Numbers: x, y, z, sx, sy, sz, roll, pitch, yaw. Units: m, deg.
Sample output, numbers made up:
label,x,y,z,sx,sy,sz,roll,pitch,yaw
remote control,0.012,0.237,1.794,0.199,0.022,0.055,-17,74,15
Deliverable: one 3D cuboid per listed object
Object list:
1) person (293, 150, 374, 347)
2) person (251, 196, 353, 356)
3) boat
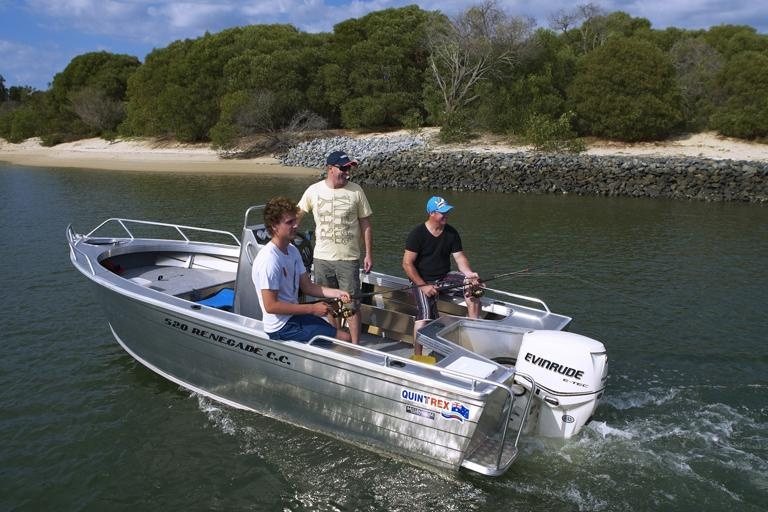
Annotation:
label,x,y,z,sx,sy,sz,roll,pitch,yaw
person,-0.805,-0.029,8.401,1.569,2.760,0.988,2,10,23
person,-0.988,0.374,7.415,1.574,1.996,0.980,2,11,-7
boat,-0.716,1.330,8.293,6.990,3.058,3.048,6,14,23
